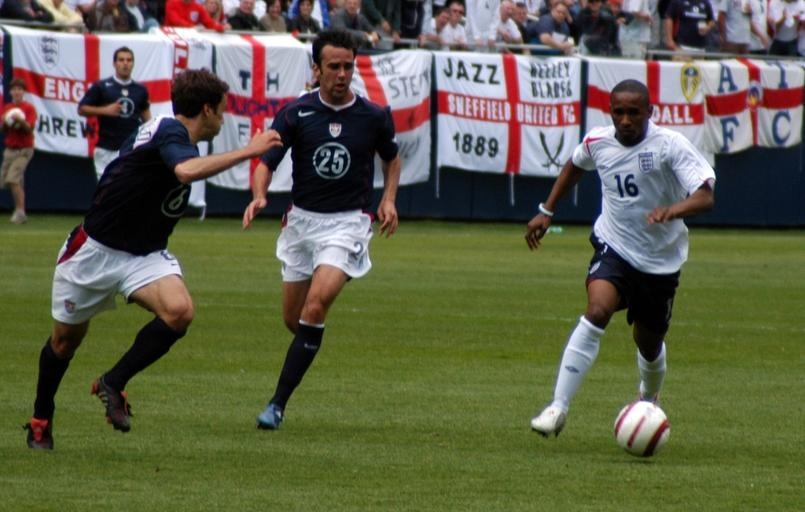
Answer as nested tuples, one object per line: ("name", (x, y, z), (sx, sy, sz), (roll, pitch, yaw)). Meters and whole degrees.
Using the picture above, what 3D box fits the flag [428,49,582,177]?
("flag", (1.855, -2.808, 29.892), (2.701, 2.006, 0.314), (-1, 15, -13))

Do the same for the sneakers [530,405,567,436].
("sneakers", (1.670, 1.899, 18.281), (0.420, 0.300, 0.254), (2, 8, -6))

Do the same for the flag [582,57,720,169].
("flag", (3.900, -2.434, 25.249), (2.528, 1.845, 0.195), (-2, 9, -11))

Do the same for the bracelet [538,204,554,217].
("bracelet", (1.766, -0.586, 19.348), (0.120, 0.064, 0.112), (38, 14, 36))

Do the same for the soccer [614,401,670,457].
("soccer", (2.845, 2.037, 18.405), (0.585, 0.619, 0.581), (8, -6, 15))

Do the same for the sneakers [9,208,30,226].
("sneakers", (-6.628, -0.710, 27.312), (0.356, 0.259, 0.183), (4, 8, 19))

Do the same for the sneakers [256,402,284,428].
("sneakers", (-1.552, 1.874, 18.449), (0.176, 0.193, 0.397), (8, -11, 7))

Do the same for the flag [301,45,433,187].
("flag", (-0.856, -2.630, 29.776), (1.564, 2.487, 2.818), (1, 0, -28))

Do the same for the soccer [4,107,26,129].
("soccer", (-6.591, -2.409, 26.734), (0.264, 0.306, 0.347), (3, 5, 26))
